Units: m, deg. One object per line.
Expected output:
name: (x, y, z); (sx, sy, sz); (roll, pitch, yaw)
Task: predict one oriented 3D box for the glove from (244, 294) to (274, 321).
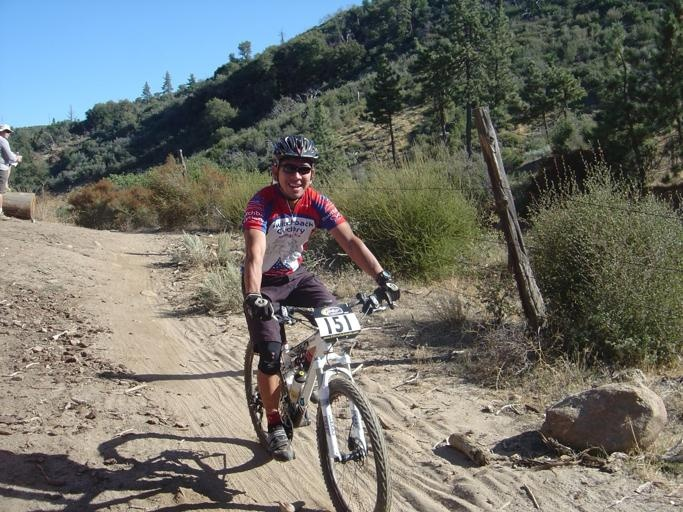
glove: (-0.775, 0.475, 5.840); (0.285, 0.249, 0.203); (-3, 2, -2)
